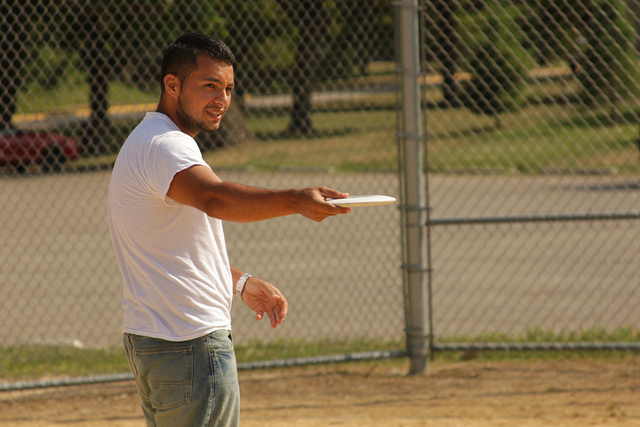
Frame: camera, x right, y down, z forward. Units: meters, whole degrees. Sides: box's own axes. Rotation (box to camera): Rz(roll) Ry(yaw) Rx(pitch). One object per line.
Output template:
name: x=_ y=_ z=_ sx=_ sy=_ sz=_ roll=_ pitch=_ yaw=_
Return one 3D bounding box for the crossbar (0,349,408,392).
crossbar: x=-1.545 y=2.034 z=15.973 sx=5.260 sy=0.310 sz=0.530 roll=-4 pitch=7 yaw=1
